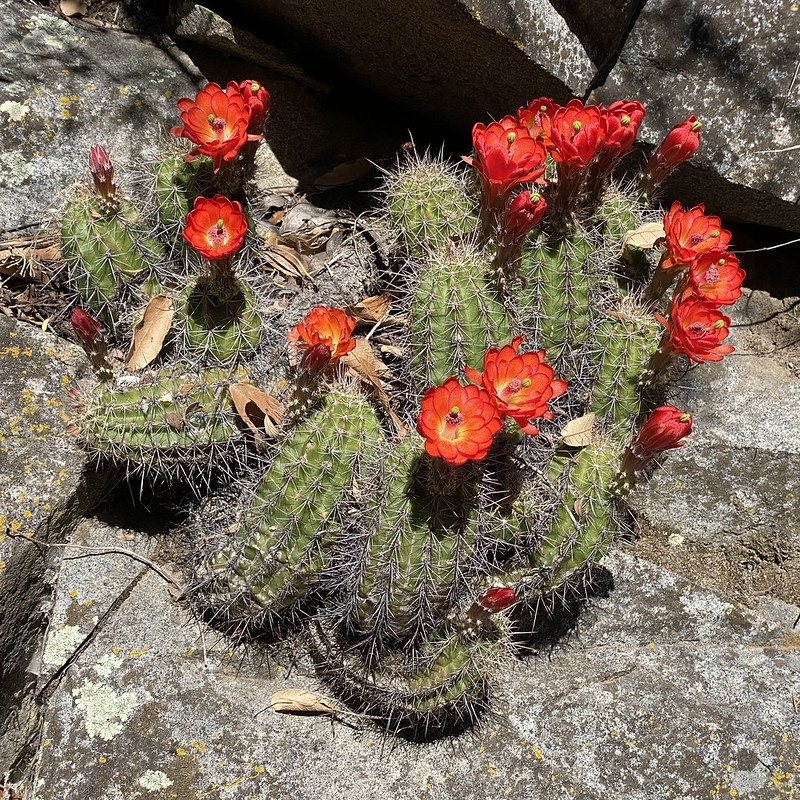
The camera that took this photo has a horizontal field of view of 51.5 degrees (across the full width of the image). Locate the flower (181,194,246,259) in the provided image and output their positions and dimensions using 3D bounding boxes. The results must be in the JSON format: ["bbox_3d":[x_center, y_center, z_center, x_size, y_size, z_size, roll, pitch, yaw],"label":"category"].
[{"bbox_3d":[-0.578,-0.545,2.621,0.160,0.107,0.220,8,80,5],"label":"flower"}]

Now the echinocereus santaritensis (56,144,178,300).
[{"bbox_3d":[-0.982,-0.600,2.852,0.288,0.516,0.297,-2,39,-14],"label":"echinocereus santaritensis"}]

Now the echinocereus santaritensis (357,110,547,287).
[{"bbox_3d":[0.252,-0.696,2.854,0.524,0.751,0.341,-20,99,-44],"label":"echinocereus santaritensis"}]

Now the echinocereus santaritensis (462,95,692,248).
[{"bbox_3d":[0.534,-0.912,2.628,0.534,0.302,0.596,23,53,24],"label":"echinocereus santaritensis"}]

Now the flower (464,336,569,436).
[{"bbox_3d":[0.310,-0.067,2.484,0.196,0.227,0.090,-8,67,-19],"label":"flower"}]

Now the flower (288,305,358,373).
[{"bbox_3d":[-0.245,-0.161,2.642,0.186,0.136,0.207,-34,47,-19],"label":"flower"}]

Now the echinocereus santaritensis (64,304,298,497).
[{"bbox_3d":[-0.704,0.026,2.807,0.534,0.661,0.278,51,122,9],"label":"echinocereus santaritensis"}]

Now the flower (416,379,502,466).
[{"bbox_3d":[0.171,0.073,2.402,0.220,0.256,0.247,28,82,9],"label":"flower"}]

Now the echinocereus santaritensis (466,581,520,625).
[{"bbox_3d":[0.282,0.629,2.586,0.056,0.179,0.054,32,55,13],"label":"echinocereus santaritensis"}]

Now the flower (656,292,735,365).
[{"bbox_3d":[0.933,-0.215,2.665,0.207,0.189,0.225,8,60,-32],"label":"flower"}]
